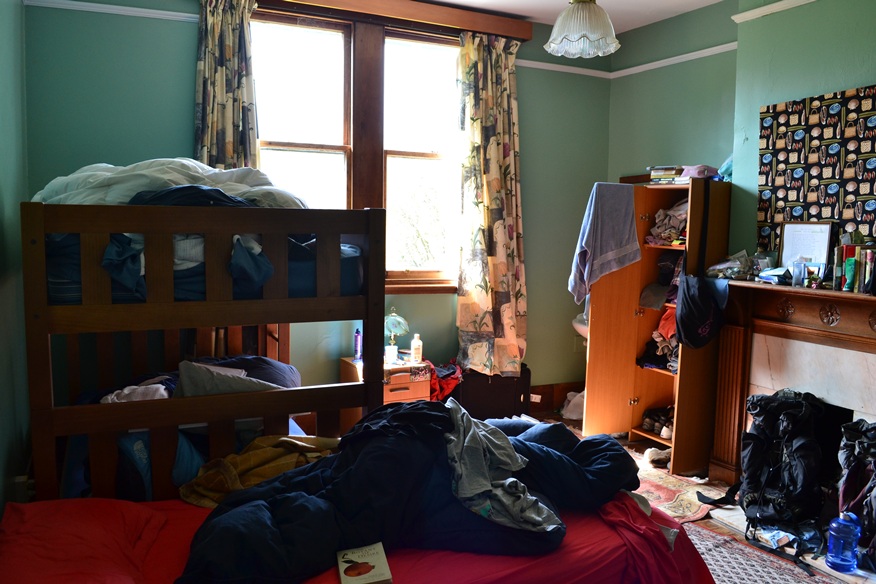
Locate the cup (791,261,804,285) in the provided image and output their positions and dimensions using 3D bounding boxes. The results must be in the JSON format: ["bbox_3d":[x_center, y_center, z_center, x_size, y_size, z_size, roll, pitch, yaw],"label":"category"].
[{"bbox_3d":[2.218,-0.115,4.012,0.068,0.146,0.089,-1,7,-9],"label":"cup"}]

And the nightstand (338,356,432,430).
[{"bbox_3d":[-0.308,0.771,5.014,0.480,0.469,0.334,-5,3,-15],"label":"nightstand"}]

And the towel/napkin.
[{"bbox_3d":[1.242,-0.359,4.853,0.497,0.889,0.228,2,7,17],"label":"towel/napkin"}]

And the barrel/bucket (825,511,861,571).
[{"bbox_3d":[2.315,1.399,3.702,0.173,0.317,0.155,6,-7,-20],"label":"barrel/bucket"}]

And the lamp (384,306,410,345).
[{"bbox_3d":[-0.336,0.252,5.131,0.266,0.299,0.266,0,-5,-4],"label":"lamp"}]

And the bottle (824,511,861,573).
[{"bbox_3d":[2.276,1.392,3.651,0.176,0.311,0.128,3,8,24],"label":"bottle"}]

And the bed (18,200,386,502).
[{"bbox_3d":[-1.461,0.401,3.830,1.207,1.627,2.086,1,1,37],"label":"bed"}]
